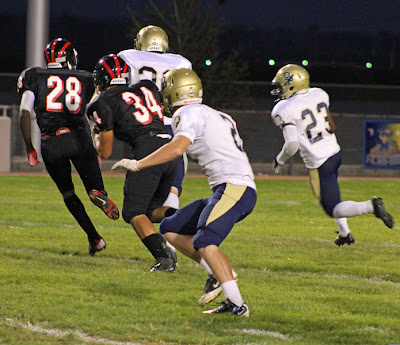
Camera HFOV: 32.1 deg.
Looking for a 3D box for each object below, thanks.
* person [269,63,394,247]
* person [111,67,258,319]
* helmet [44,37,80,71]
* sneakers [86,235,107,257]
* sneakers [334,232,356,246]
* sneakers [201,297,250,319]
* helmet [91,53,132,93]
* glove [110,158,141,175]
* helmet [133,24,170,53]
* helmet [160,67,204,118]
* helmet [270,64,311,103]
[{"bbox_3d":[1.361,-0.207,7.881,1.543,2.050,0.716,6,7,30],"label":"person"},{"bbox_3d":[-0.100,0.156,5.979,1.328,2.047,1.095,0,-9,16],"label":"person"},{"bbox_3d":[-1.462,-1.254,7.347,0.297,0.299,0.366,2,32,10],"label":"helmet"},{"bbox_3d":[-1.046,0.739,7.122,0.278,0.134,0.103,-41,8,13],"label":"sneakers"},{"bbox_3d":[1.673,0.760,7.833,0.315,0.197,0.101,-2,19,23],"label":"sneakers"},{"bbox_3d":[0.172,1.098,5.562,0.433,0.148,0.137,2,-10,10],"label":"sneakers"},{"bbox_3d":[-0.814,-0.946,6.608,0.405,0.344,0.305,-8,14,20],"label":"helmet"},{"bbox_3d":[-0.595,-0.044,5.638,0.186,0.053,0.110,-13,18,22],"label":"glove"},{"bbox_3d":[-0.554,-1.474,7.831,0.327,0.346,0.334,0,-32,-9],"label":"helmet"},{"bbox_3d":[-0.161,-0.676,5.846,0.336,0.332,0.415,-6,19,-19],"label":"helmet"},{"bbox_3d":[1.037,-1.077,8.315,0.522,0.413,0.369,-7,26,38],"label":"helmet"}]
